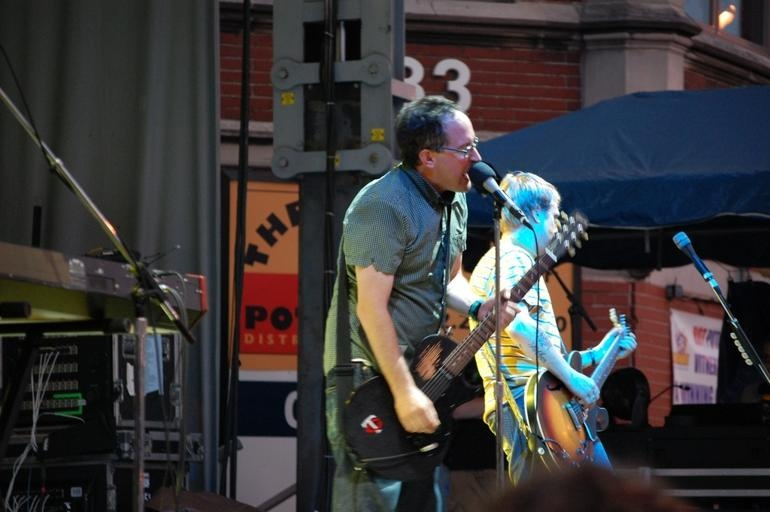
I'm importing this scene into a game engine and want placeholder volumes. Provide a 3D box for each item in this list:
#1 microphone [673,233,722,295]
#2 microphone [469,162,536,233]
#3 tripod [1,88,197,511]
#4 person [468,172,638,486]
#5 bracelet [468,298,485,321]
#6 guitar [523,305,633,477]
[{"bbox_3d":[2.806,0.068,14.699,0.109,0.660,0.096,-40,-12,12],"label":"microphone"},{"bbox_3d":[0.809,-0.396,11.156,0.229,0.229,0.687,12,27,-43],"label":"microphone"},{"bbox_3d":[-1.969,0.414,11.391,1.247,2.783,0.971,0,-7,-8],"label":"tripod"},{"bbox_3d":[1.073,0.538,11.991,0.963,2.409,0.296,8,-13,-43],"label":"person"},{"bbox_3d":[0.621,0.390,11.313,0.049,0.131,0.097,25,-20,0],"label":"bracelet"},{"bbox_3d":[1.440,1.072,12.238,0.152,0.507,1.159,-13,21,31],"label":"guitar"}]
